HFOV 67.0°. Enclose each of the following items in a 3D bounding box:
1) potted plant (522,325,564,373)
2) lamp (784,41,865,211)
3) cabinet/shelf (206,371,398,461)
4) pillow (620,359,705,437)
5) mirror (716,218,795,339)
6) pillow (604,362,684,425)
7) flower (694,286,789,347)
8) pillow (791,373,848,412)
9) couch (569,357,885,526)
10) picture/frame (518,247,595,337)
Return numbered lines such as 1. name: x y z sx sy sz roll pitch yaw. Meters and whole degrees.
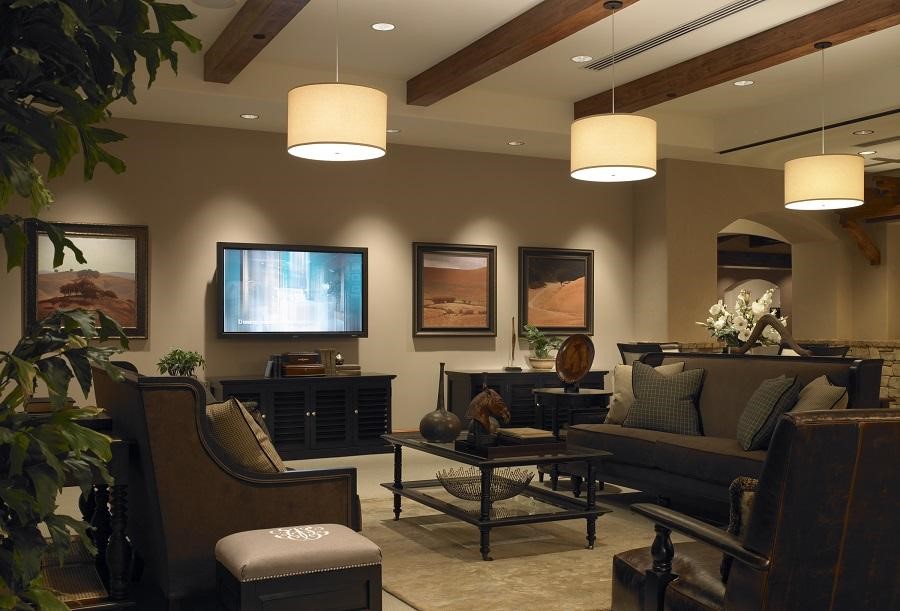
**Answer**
1. potted plant: 1.057 0.479 7.740 0.515 0.450 0.483 6 -6 -41
2. lamp: 3.356 -1.553 6.119 0.586 1.525 1.984 -1 -1 29
3. cabinet/shelf: -1.371 1.050 6.613 1.567 0.719 0.475 0 4 -15
4. pillow: 1.603 0.699 5.089 0.567 0.461 0.279 3 10 36
5. mirror: 4.854 -0.566 10.879 2.156 2.297 0.232 -1 4 -24
6. pillow: 1.562 0.735 5.351 0.610 0.554 0.230 0 -13 28
7. flower: 2.236 0.152 5.368 0.498 0.454 0.455 3 11 29
8. pillow: 2.254 0.538 4.149 0.280 0.232 0.390 -1 -1 44
9. couch: 1.779 0.932 4.841 1.108 1.102 1.849 3 -4 -35
10. picture/frame: 1.200 -0.149 7.965 1.141 1.105 0.078 1 -1 -23
